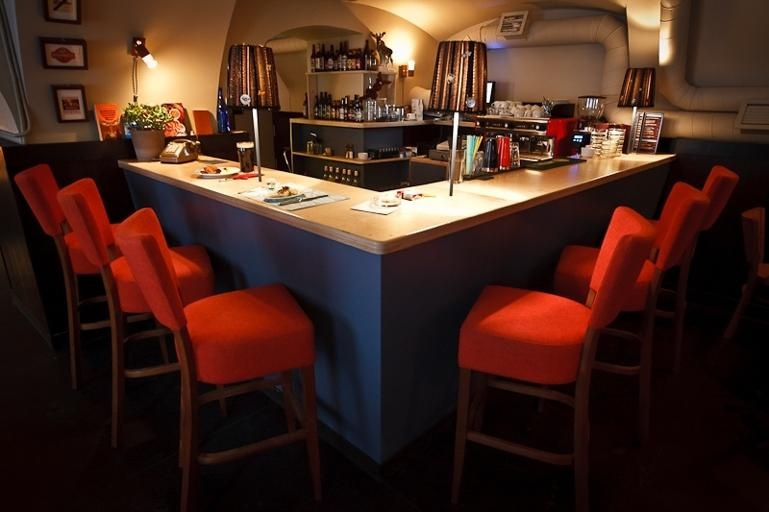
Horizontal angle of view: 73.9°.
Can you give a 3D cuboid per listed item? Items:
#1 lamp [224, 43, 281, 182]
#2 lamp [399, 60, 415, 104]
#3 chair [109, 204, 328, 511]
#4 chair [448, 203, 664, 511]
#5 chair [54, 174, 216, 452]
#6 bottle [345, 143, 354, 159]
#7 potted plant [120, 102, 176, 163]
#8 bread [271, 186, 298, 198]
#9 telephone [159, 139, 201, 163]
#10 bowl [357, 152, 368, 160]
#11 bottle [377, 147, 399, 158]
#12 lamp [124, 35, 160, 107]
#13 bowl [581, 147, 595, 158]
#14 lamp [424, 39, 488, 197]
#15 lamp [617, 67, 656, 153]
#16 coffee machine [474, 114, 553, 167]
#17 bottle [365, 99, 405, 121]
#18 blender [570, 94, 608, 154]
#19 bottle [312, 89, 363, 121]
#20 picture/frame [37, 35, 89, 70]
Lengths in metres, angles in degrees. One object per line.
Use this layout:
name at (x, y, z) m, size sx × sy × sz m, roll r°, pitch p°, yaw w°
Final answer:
lamp at (-0.979, -1.070, 3.796) m, size 0.379 × 0.927 × 0.467 m, roll -5°, pitch 21°, yaw -13°
lamp at (0.341, -2.689, 7.941) m, size 0.259 × 0.625 × 0.273 m, roll 0°, pitch 20°, yaw 1°
chair at (-0.901, 0.589, 2.947) m, size 0.980 × 1.621 × 0.641 m, roll -3°, pitch 20°, yaw -9°
chair at (0.941, 0.601, 2.956) m, size 0.937 × 1.630 × 0.844 m, roll 6°, pitch 21°, yaw 17°
chair at (-1.648, 0.425, 3.357) m, size 0.858 × 1.857 × 0.839 m, roll -14°, pitch 43°, yaw -35°
bottle at (-0.458, -1.329, 6.479) m, size 0.165 × 0.169 × 0.083 m, roll 15°, pitch 25°, yaw 34°
potted plant at (-1.950, -1.055, 4.449) m, size 0.540 × 0.562 × 0.431 m, roll -2°, pitch 17°, yaw -11°
bread at (-0.638, -0.401, 3.251) m, size 0.081 × 0.041 × 0.116 m, roll 23°, pitch 32°, yaw 32°
telephone at (-1.722, -0.862, 4.309) m, size 0.258 × 0.128 × 0.228 m, roll 9°, pitch 25°, yaw 21°
bowl at (-0.259, -1.247, 6.386) m, size 0.101 × 0.072 × 0.105 m, roll 1°, pitch 16°, yaw 0°
bottle at (0.059, -1.328, 6.584) m, size 0.106 × 0.120 × 0.410 m, roll 13°, pitch 24°, yaw 32°
lamp at (-2.080, -1.607, 4.396) m, size 0.269 × 0.530 × 0.111 m, roll -14°, pitch 24°, yaw -33°
bowl at (1.864, -0.945, 4.665) m, size 0.104 × 0.079 × 0.106 m, roll -1°, pitch 19°, yaw 0°
lamp at (0.503, -0.979, 3.553) m, size 0.397 × 0.980 × 0.524 m, roll 3°, pitch 21°, yaw 8°
lamp at (2.487, -1.442, 5.029) m, size 0.302 × 0.774 × 0.412 m, roll 14°, pitch 24°, yaw 33°
coffee machine at (1.318, -1.139, 5.031) m, size 0.483 × 0.567 × 0.844 m, roll -17°, pitch 26°, yaw -36°
bottle at (-0.008, -1.894, 6.582) m, size 0.271 × 0.210 × 0.502 m, roll 13°, pitch 20°, yaw 34°
blender at (2.039, -1.321, 5.092) m, size 0.230 × 0.488 × 0.736 m, roll 7°, pitch 22°, yaw 19°
bottle at (-0.585, -1.999, 6.829) m, size 0.407 × 0.338 × 1.225 m, roll -14°, pitch 25°, yaw -33°
picture/frame at (-2.576, -1.614, 4.041) m, size 0.287 × 0.239 × 0.021 m, roll -16°, pitch 27°, yaw -35°
